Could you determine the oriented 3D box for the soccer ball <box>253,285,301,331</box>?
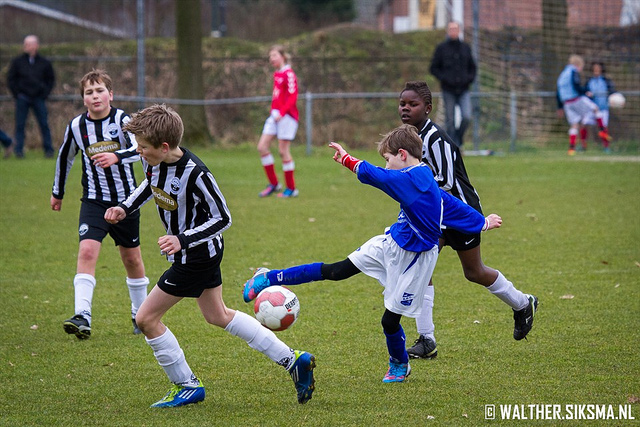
[{"bbox_3d":[-0.394,0.817,7.601,0.370,0.458,0.404,-16,11,3],"label":"soccer ball"}]

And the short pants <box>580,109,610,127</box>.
[{"bbox_3d":[2.559,-0.895,7.981,0.184,0.179,0.065,1,1,26],"label":"short pants"}]

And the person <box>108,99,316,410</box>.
[{"bbox_3d":[-0.952,0.345,7.306,1.281,2.537,0.412,-2,7,-7],"label":"person"}]

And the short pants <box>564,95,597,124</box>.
[{"bbox_3d":[2.475,-1.003,8.126,0.184,0.305,0.337,-17,5,11],"label":"short pants"}]

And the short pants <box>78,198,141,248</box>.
[{"bbox_3d":[-2.087,0.099,8.392,0.636,0.492,0.365,3,-19,-23],"label":"short pants"}]

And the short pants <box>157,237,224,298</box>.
[{"bbox_3d":[-1.095,0.535,7.211,0.640,0.467,0.379,-2,-4,0],"label":"short pants"}]
